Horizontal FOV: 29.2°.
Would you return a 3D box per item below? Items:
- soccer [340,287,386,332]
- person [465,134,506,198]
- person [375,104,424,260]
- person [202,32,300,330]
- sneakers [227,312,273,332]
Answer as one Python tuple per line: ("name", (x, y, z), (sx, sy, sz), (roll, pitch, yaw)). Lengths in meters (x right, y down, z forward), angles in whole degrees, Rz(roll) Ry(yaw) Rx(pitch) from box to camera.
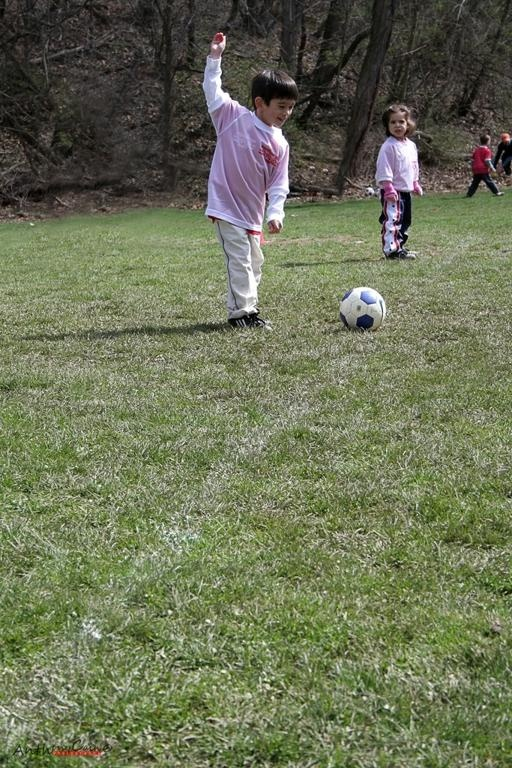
("soccer", (0.712, -0.499, 6.529), (0.277, 0.290, 0.272), (21, -31, -26))
("person", (4.535, -4.384, 19.429), (0.678, 1.165, 3.249), (2, 15, 12))
("person", (1.492, -2.141, 10.215), (0.453, 1.552, 1.046), (1, 16, 8))
("person", (-0.032, -1.331, 6.485), (0.609, 1.915, 0.568), (-2, 16, -1))
("sneakers", (-0.039, -0.437, 6.641), (0.310, 0.119, 0.102), (-1, 46, 4))
